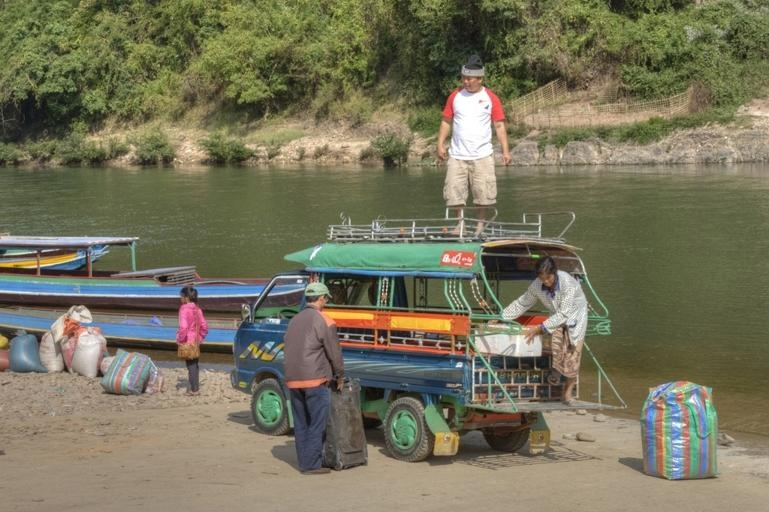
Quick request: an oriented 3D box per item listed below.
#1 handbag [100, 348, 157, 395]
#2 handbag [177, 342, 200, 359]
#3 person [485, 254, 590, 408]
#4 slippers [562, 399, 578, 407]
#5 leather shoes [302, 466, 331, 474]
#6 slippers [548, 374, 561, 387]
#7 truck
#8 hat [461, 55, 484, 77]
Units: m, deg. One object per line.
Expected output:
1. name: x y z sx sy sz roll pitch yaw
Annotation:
1. handbag: -6.737 3.104 29.889 1.252 1.139 0.548 19 -3 -2
2. handbag: -5.089 2.442 28.994 0.519 0.348 0.403 -1 3 -31
3. person: 3.820 1.683 25.622 1.487 3.309 0.914 0 8 9
4. slippers: 4.194 3.327 25.454 0.322 0.128 0.317 -1 7 -1
5. leather shoes: -1.555 4.774 25.200 0.638 0.247 0.204 -2 0 -17
6. slippers: 3.864 2.795 25.604 0.315 0.262 0.103 -1 8 -1
7. truck: 0.804 2.020 27.629 4.612 5.075 9.719 6 -4 -44
8. hat: 2.127 -4.713 27.847 0.603 0.548 0.775 3 11 10
